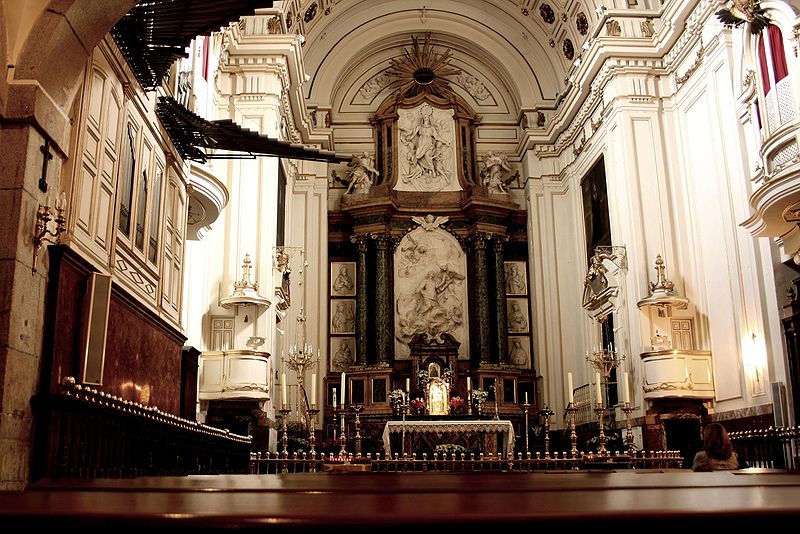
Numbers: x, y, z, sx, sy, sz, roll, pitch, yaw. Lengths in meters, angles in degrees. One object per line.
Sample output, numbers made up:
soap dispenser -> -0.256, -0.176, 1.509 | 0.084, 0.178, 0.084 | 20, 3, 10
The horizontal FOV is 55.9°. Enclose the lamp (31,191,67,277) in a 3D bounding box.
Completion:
lamp -> -3.163, -0.348, 6.684 | 0.366, 0.602, 0.200 | 9, -16, -38

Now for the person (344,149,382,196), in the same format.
person -> -1.098, -2.729, 21.827 | 0.877, 1.480, 0.450 | 12, -18, -10
